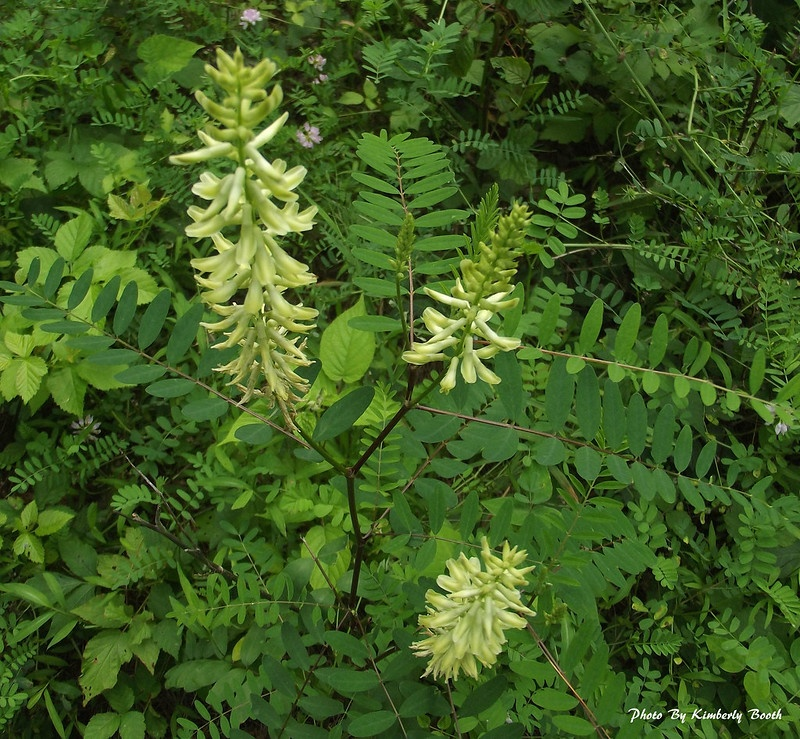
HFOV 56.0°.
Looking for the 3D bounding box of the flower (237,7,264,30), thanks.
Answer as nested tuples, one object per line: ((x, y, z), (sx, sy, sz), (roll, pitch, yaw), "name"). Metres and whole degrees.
((-0.950, -2.240, 4.815), (0.160, 0.099, 0.126), (-21, -67, 6), "flower")
